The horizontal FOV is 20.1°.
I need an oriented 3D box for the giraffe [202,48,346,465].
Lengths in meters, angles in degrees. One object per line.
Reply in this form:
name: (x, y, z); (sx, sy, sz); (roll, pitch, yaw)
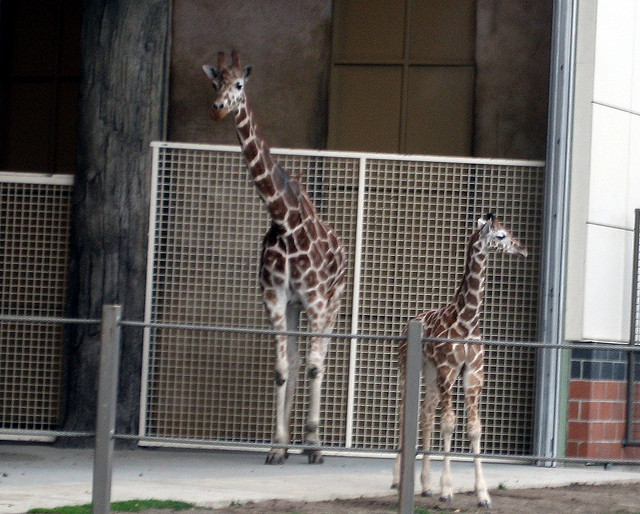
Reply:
giraffe: (-0.293, 0.029, 12.803); (0.649, 2.830, 1.424); (-3, -11, 25)

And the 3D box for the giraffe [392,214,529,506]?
giraffe: (0.956, 0.673, 12.242); (0.878, 1.991, 1.800); (1, -10, 3)
